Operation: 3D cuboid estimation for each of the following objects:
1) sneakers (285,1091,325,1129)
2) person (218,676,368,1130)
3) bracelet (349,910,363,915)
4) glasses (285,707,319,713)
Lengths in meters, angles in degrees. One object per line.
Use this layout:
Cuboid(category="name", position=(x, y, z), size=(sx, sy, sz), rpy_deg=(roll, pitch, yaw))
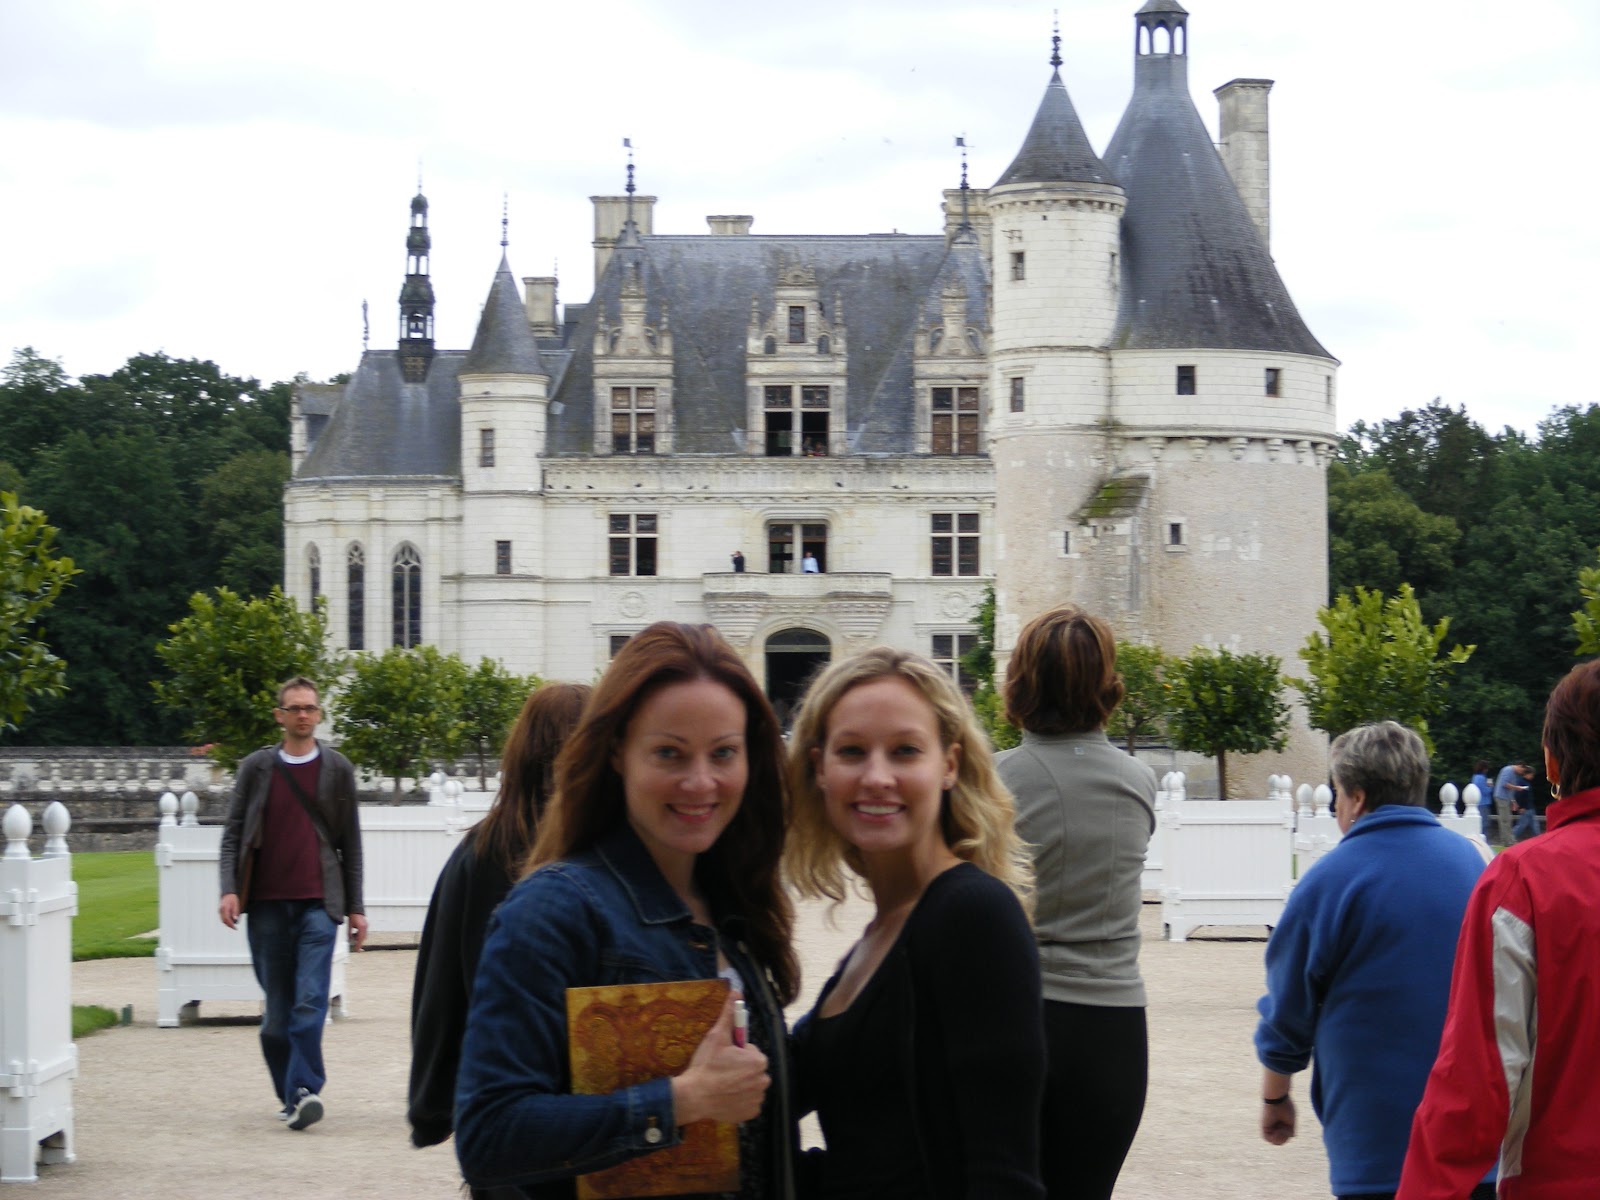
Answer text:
Cuboid(category="sneakers", position=(-4.047, 4.186, 29.763), size=(0.298, 0.292, 0.200), rpy_deg=(2, -3, -24))
Cuboid(category="person", position=(-4.232, 2.481, 30.088), size=(1.155, 3.706, 0.578), rpy_deg=(1, -3, -8))
Cuboid(category="bracelet", position=(-3.685, 2.578, 30.023), size=(0.104, 0.059, 0.224), rpy_deg=(1, -3, -7))
Cuboid(category="glasses", position=(-4.140, 0.882, 30.115), size=(0.230, 0.069, 0.064), rpy_deg=(2, -3, -19))
